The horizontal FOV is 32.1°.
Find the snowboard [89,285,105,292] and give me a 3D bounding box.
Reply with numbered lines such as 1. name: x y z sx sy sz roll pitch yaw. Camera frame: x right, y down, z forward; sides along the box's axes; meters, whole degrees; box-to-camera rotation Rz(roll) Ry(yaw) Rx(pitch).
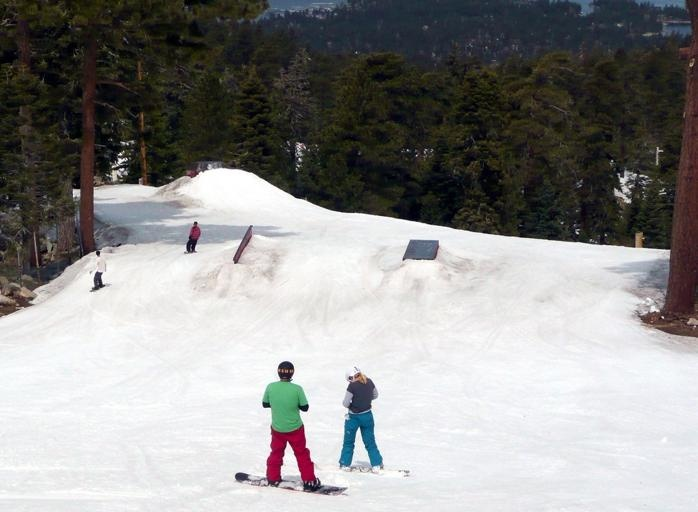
1. snowboard: -11.859 1.528 56.753 0.779 0.303 0.235 -22 19 -15
